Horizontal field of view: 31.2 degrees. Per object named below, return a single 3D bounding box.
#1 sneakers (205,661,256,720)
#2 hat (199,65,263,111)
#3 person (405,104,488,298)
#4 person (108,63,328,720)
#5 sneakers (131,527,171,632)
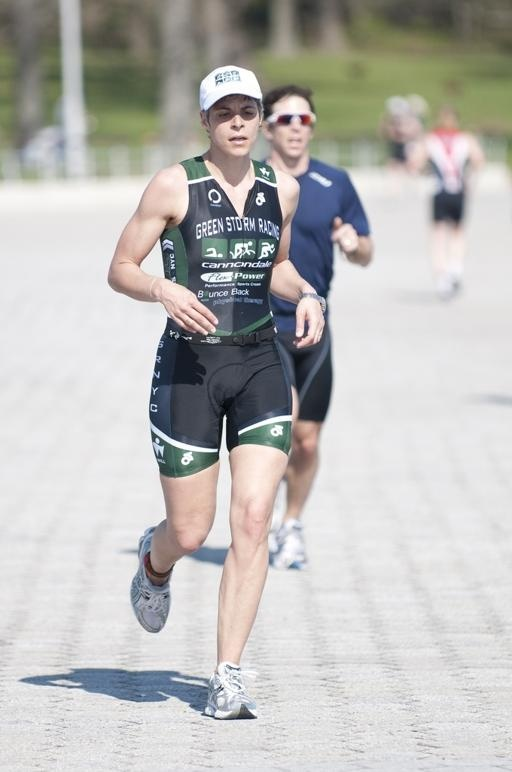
[{"bbox_3d":[-0.067,0.809,2.441,0.114,0.119,0.248,-1,-5,-15],"label":"sneakers"},{"bbox_3d":[-0.076,-0.858,2.634,0.170,0.142,0.244,0,13,-2],"label":"hat"},{"bbox_3d":[2.840,-2.751,13.733,1.026,2.750,1.183,0,15,-4],"label":"person"},{"bbox_3d":[-0.127,0.051,2.651,0.625,1.924,0.971,2,15,3],"label":"person"},{"bbox_3d":[-0.364,0.617,2.968,0.142,0.318,0.153,-3,8,-25],"label":"sneakers"}]
